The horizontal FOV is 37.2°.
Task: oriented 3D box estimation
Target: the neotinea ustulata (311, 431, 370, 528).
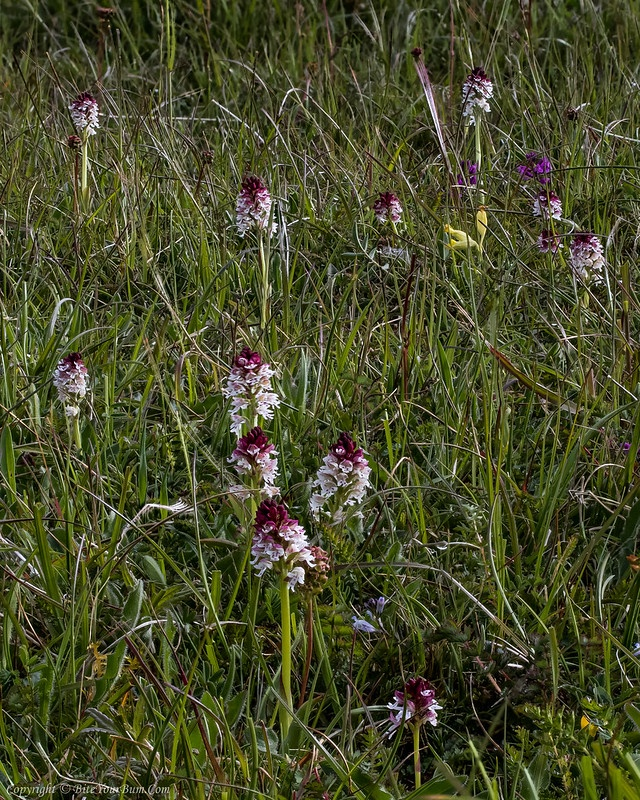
[{"bbox_3d":[0.036,0.145,1.636,0.061,0.147,0.070,-28,53,-28],"label":"neotinea ustulata"}]
